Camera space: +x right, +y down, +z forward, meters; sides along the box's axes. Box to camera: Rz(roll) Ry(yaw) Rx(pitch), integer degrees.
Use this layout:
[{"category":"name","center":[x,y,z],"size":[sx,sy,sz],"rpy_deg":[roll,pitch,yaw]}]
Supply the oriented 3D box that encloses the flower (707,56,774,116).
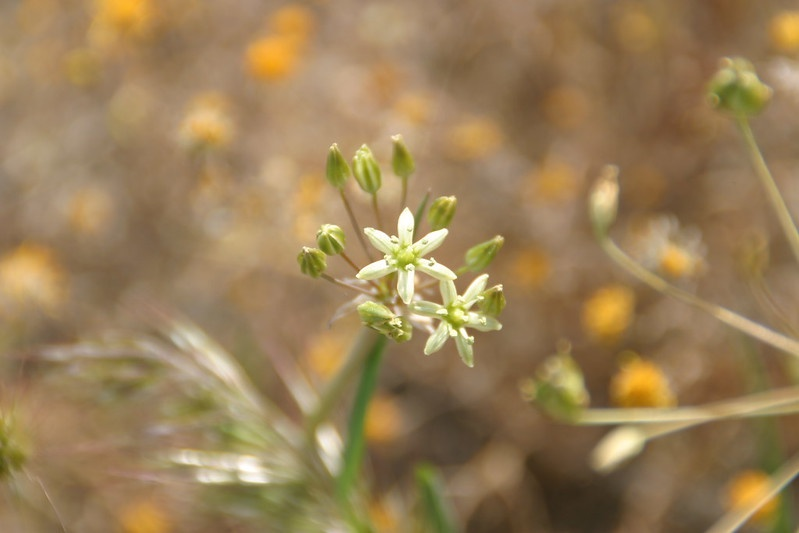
[{"category":"flower","center":[0.867,-0.470,2.606],"size":[0.133,0.088,0.152],"rpy_deg":[-7,51,-14]}]

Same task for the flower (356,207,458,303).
[{"category":"flower","center":[0.011,-0.022,2.459],"size":[0.224,0.289,0.062],"rpy_deg":[-7,43,7]}]

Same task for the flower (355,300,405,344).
[{"category":"flower","center":[-0.050,0.114,2.435],"size":[0.127,0.052,0.072],"rpy_deg":[38,99,-14]}]
